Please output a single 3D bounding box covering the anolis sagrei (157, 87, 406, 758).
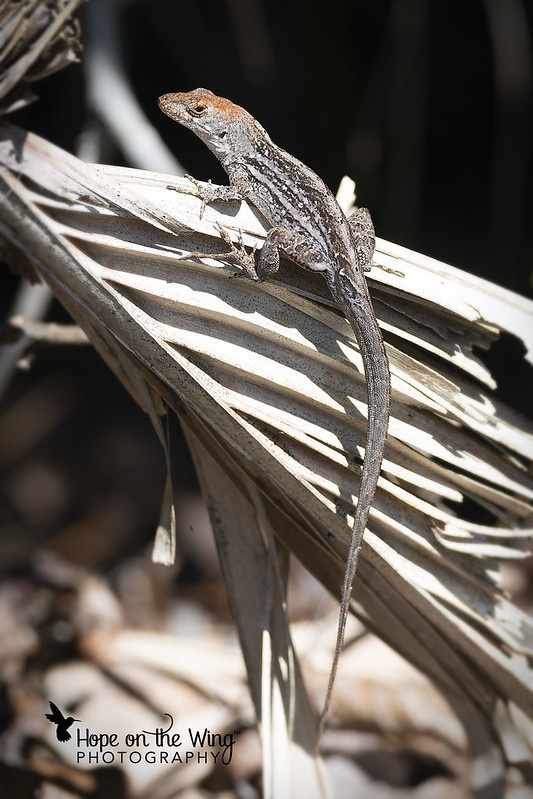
[{"bbox_3d":[0.025,-0.025,0.845,0.219,0.091,0.681,-3,58,-17],"label":"anolis sagrei"}]
